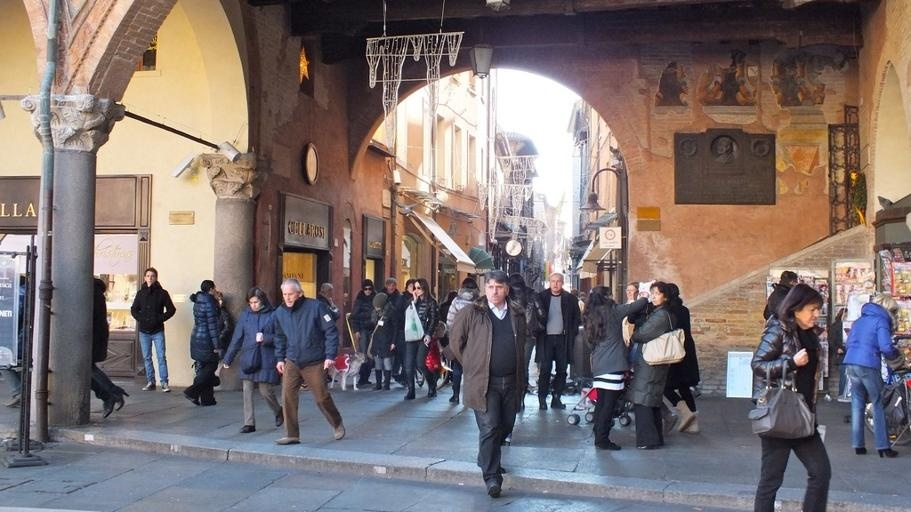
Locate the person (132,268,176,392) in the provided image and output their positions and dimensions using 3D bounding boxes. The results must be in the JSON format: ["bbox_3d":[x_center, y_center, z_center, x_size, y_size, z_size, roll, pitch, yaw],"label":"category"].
[{"bbox_3d":[-6.832,1.640,22.016,0.930,2.741,0.387,0,6,6],"label":"person"}]

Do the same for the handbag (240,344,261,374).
[{"bbox_3d":[-3.898,1.955,18.590,0.491,0.482,0.280,-16,-24,42],"label":"handbag"}]

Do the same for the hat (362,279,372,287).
[{"bbox_3d":[-2.145,0.659,23.618,0.178,0.172,0.223,6,-37,-6],"label":"hat"}]

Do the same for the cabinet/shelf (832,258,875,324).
[{"bbox_3d":[9.109,0.637,22.534,1.091,1.720,0.980,-4,29,19],"label":"cabinet/shelf"}]

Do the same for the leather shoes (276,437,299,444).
[{"bbox_3d":[-3.072,3.346,17.809,0.406,0.150,0.141,6,-10,-4],"label":"leather shoes"}]

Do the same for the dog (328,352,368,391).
[{"bbox_3d":[-2.668,2.637,23.165,1.603,0.781,0.422,-6,-8,44],"label":"dog"}]

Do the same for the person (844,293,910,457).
[{"bbox_3d":[7.526,2.109,17.732,0.933,2.758,1.101,2,7,21],"label":"person"}]

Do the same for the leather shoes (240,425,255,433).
[{"bbox_3d":[-3.954,3.251,18.542,0.262,0.098,0.117,4,-5,-7],"label":"leather shoes"}]

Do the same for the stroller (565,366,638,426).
[{"bbox_3d":[2.813,2.919,19.813,1.599,1.290,0.994,-6,-11,22],"label":"stroller"}]

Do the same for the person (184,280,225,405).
[{"bbox_3d":[-5.428,1.835,20.905,0.708,2.506,1.075,-1,6,-11],"label":"person"}]

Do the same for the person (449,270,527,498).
[{"bbox_3d":[0.532,2.063,16.319,1.204,3.608,0.854,0,6,2],"label":"person"}]

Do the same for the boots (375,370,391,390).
[{"bbox_3d":[-1.732,2.907,23.130,0.497,0.498,0.435,0,-11,4],"label":"boots"}]

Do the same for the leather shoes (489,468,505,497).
[{"bbox_3d":[0.642,3.713,16.082,0.189,0.470,0.218,12,18,-9],"label":"leather shoes"}]

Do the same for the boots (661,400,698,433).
[{"bbox_3d":[4.328,3.129,19.216,0.443,0.667,0.905,-7,5,-9],"label":"boots"}]

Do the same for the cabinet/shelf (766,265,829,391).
[{"bbox_3d":[7.329,1.811,21.106,1.717,2.986,1.726,5,-43,15],"label":"cabinet/shelf"}]
